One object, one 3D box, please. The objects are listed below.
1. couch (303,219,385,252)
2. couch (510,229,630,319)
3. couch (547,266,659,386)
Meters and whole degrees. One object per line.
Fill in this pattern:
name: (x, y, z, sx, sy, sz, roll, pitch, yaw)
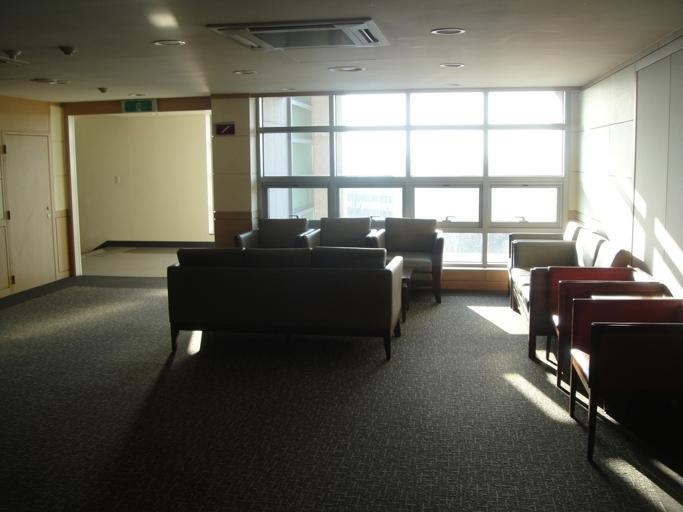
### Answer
couch: (-0.003, -0.375, 8.648, 0.971, 0.723, 0.580, 1, 1, 7)
couch: (2.804, 0.517, 7.047, 1.053, 1.329, 1.871, 3, 11, 2)
couch: (2.577, 0.548, 5.428, 0.984, 1.298, 1.302, 0, 1, 4)
